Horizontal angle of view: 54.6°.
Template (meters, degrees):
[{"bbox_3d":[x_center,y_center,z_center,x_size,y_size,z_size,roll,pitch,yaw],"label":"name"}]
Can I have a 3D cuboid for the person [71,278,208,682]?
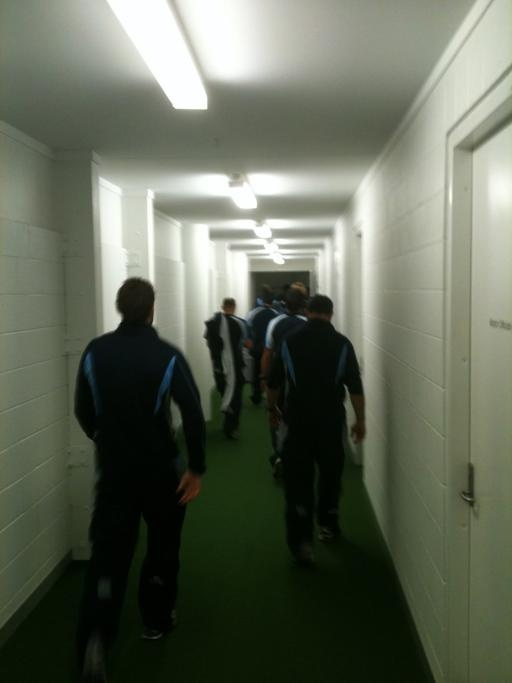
[{"bbox_3d":[-0.447,0.474,1.862,0.462,1.416,0.343,-2,3,-25],"label":"person"}]

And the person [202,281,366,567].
[{"bbox_3d":[0.310,0.494,2.563,0.508,1.218,0.349,-1,2,1],"label":"person"}]
